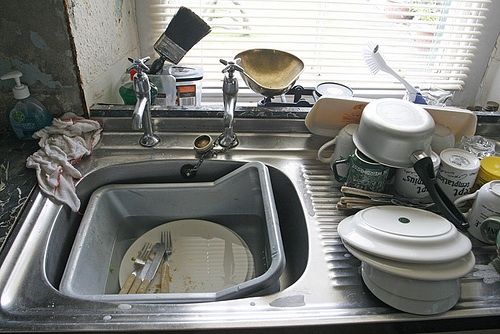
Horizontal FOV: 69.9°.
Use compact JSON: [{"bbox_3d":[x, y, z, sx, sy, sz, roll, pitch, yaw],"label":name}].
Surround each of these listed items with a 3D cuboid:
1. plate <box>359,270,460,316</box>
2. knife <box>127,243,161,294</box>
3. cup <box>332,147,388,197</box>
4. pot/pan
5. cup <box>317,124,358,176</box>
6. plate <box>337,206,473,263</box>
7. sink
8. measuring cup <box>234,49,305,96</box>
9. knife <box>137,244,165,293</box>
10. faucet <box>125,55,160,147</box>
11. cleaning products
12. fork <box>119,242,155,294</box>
[{"bbox_3d":[0.383,0.298,0.844,0.190,0.058,0.145,1,20,-2],"label":"plate"},{"bbox_3d":[-0.321,0.314,1.095,0.129,0.087,0.090,-17,42,-29],"label":"knife"},{"bbox_3d":[0.316,-0.007,1.118,0.188,0.159,0.104,7,44,6],"label":"cup"},{"bbox_3d":[0.446,-0.019,0.944,0.283,0.114,0.392,-5,52,5],"label":"pot/pan"},{"bbox_3d":[0.282,-0.054,1.156,0.150,0.139,0.075,-19,47,0],"label":"cup"},{"bbox_3d":[0.401,0.163,0.927,0.295,0.050,0.271,0,13,7],"label":"plate"},{"bbox_3d":[-0.230,0.204,1.070,0.495,0.174,0.444,-1,37,-4],"label":"sink"},{"bbox_3d":[0.068,-0.349,1.335,0.258,0.128,0.228,2,39,-3],"label":"measuring cup"},{"bbox_3d":[-0.287,0.295,1.089,0.025,0.011,0.200,24,36,-1],"label":"knife"},{"bbox_3d":[-0.348,-0.171,1.154,0.099,0.308,0.179,0,41,-6],"label":"faucet"},{"bbox_3d":[-0.723,-0.192,1.152,0.079,0.208,0.103,25,45,21],"label":"cleaning products"},{"bbox_3d":[-0.334,0.297,1.070,0.033,0.021,0.183,22,53,5],"label":"fork"}]
